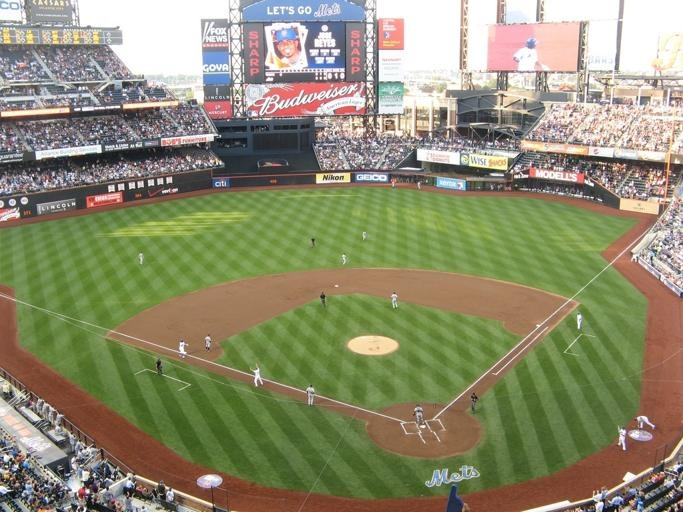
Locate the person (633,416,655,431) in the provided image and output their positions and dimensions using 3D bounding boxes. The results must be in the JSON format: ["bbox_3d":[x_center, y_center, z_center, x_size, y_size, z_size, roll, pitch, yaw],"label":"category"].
[{"bbox_3d":[14.911,8.269,30.660,0.778,0.428,1.359,10,-5,10],"label":"person"}]

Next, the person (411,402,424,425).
[{"bbox_3d":[3.887,7.689,31.081,0.572,0.970,1.265,1,24,7],"label":"person"}]

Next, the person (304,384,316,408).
[{"bbox_3d":[-1.643,7.053,32.669,0.498,1.012,1.314,-3,24,-2],"label":"person"}]

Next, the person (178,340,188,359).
[{"bbox_3d":[-9.566,5.653,37.438,0.736,1.279,0.518,7,29,6],"label":"person"}]

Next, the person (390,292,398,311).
[{"bbox_3d":[3.623,3.038,42.600,0.499,0.580,1.020,3,22,5],"label":"person"}]
